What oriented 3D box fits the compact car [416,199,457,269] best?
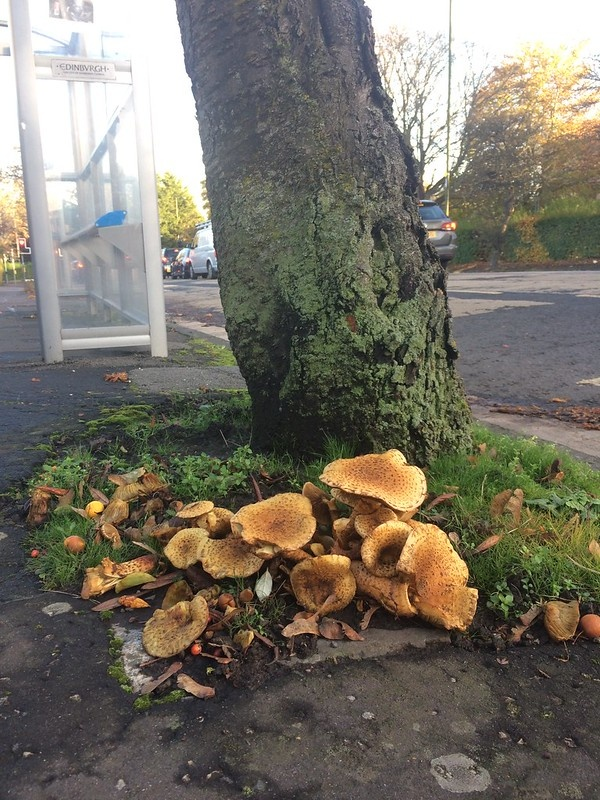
[{"bbox_3d":[3.977,-4.913,16.806,0.974,1.752,1.139,3,14,13],"label":"compact car"}]

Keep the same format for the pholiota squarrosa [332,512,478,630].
[{"bbox_3d":[0.317,0.525,1.712,0.371,0.157,0.310,-17,56,-19],"label":"pholiota squarrosa"}]

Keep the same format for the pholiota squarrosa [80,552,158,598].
[{"bbox_3d":[-0.630,0.585,2.023,0.217,0.088,0.124,-10,22,-32],"label":"pholiota squarrosa"}]

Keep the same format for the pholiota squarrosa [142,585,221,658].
[{"bbox_3d":[-0.371,0.667,1.714,0.209,0.134,0.179,1,13,4],"label":"pholiota squarrosa"}]

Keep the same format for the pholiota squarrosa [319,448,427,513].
[{"bbox_3d":[0.252,0.273,1.905,0.346,0.092,0.319,-7,15,-25],"label":"pholiota squarrosa"}]

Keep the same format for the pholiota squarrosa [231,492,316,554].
[{"bbox_3d":[-0.092,0.414,1.903,0.266,0.112,0.277,-1,13,-5],"label":"pholiota squarrosa"}]
